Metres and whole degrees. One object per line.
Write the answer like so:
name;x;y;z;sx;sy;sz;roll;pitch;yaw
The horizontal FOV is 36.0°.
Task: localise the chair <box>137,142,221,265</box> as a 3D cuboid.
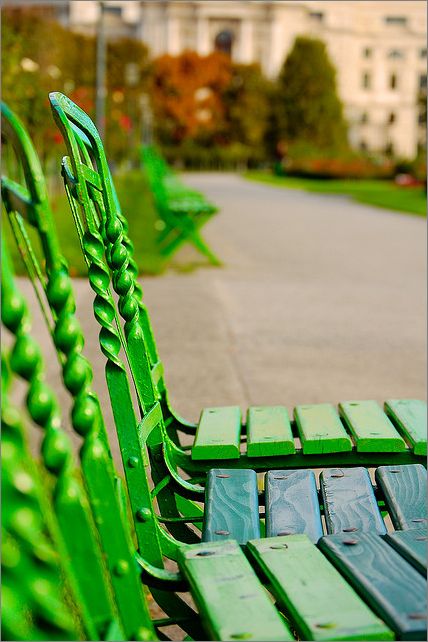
chair;-0.296;-1.017;5.869;0.603;0.879;1.741;-6;19;-1
